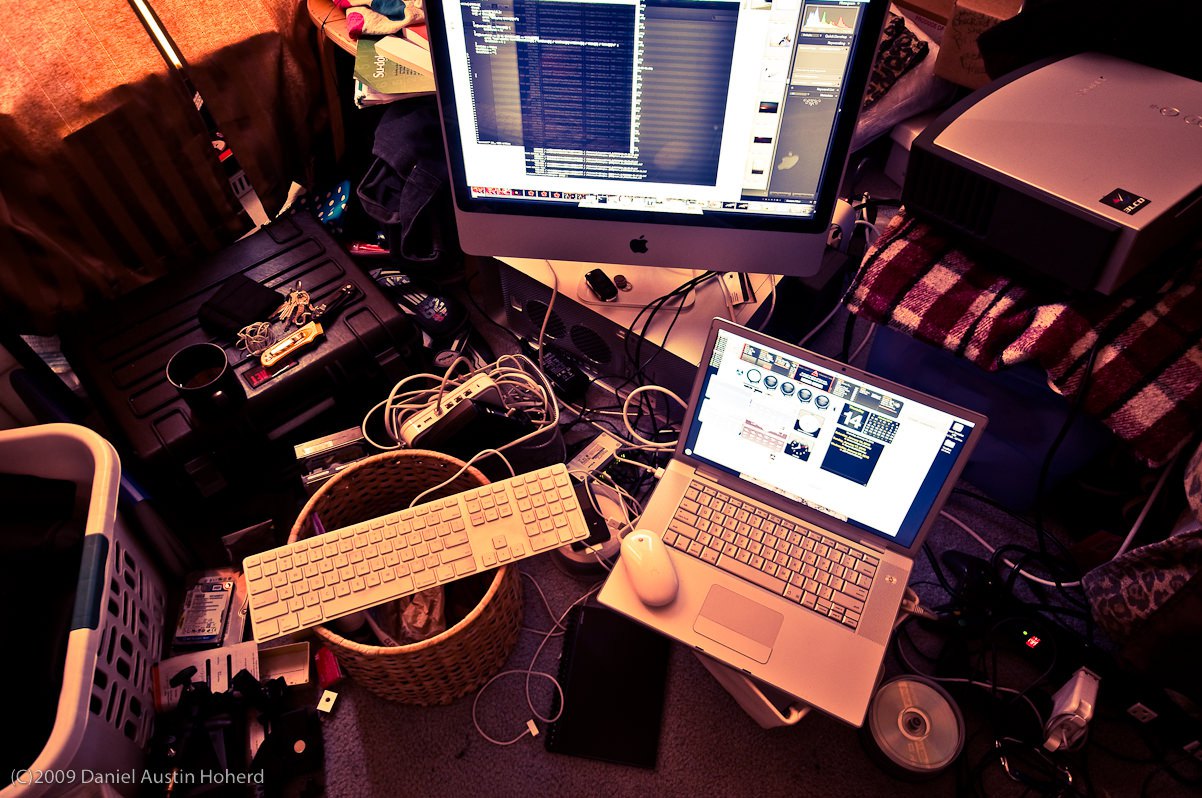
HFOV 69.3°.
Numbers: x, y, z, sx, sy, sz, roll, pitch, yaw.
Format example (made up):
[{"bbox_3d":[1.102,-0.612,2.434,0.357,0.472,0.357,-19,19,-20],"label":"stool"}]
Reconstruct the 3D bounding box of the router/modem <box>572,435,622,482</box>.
[{"bbox_3d":[-0.008,0.107,1.676,0.055,0.025,0.097,29,61,29],"label":"router/modem"}]

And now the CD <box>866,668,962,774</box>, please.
[{"bbox_3d":[0.516,0.533,1.434,0.145,0.056,0.148,-8,66,8],"label":"CD"}]

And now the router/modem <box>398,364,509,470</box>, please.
[{"bbox_3d":[-0.280,0.035,1.629,0.188,0.044,0.126,-44,30,-13],"label":"router/modem"}]

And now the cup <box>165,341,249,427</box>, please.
[{"bbox_3d":[-0.708,-0.030,1.573,0.100,0.106,0.112,-29,54,-23],"label":"cup"}]

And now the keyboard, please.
[{"bbox_3d":[-0.314,0.303,1.541,0.587,0.191,0.159,-14,50,-12],"label":"keyboard"}]

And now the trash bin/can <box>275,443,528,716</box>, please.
[{"bbox_3d":[-0.291,0.336,1.657,0.423,0.304,0.443,36,63,20],"label":"trash bin/can"}]

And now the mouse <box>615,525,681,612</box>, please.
[{"bbox_3d":[0.081,0.284,1.461,0.075,0.041,0.129,-20,69,-4],"label":"mouse"}]

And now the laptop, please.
[{"bbox_3d":[0.293,0.189,1.419,0.466,0.281,0.450,24,56,17],"label":"laptop"}]
